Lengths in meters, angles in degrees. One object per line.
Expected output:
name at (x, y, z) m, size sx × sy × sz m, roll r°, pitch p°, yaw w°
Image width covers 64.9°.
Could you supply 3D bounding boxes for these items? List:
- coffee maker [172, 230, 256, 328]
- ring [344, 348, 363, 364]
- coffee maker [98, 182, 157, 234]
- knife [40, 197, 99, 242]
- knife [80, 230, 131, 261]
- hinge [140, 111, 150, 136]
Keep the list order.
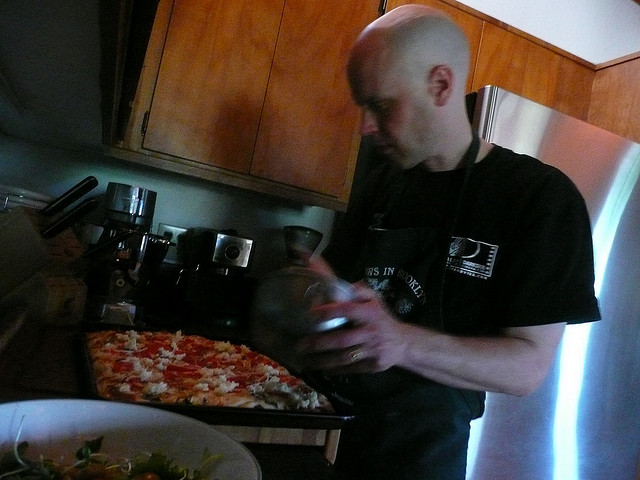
coffee maker at (-0.425, 0.140, 2.023) m, size 0.329 × 0.354 × 0.326 m, roll 13°, pitch -6°, yaw -26°
ring at (0.063, 0.212, 0.932) m, size 0.038 × 0.026 × 0.015 m, roll 9°, pitch 0°, yaw -38°
coffee maker at (-0.669, -0.103, 1.758) m, size 0.177 × 0.160 × 0.391 m, roll 6°, pitch 8°, yaw -21°
knife at (-0.741, -0.059, 1.482) m, size 0.044 × 0.192 × 0.037 m, roll 53°, pitch 1°, yaw -38°
knife at (-0.647, 0.019, 1.526) m, size 0.118 × 0.022 × 0.031 m, roll -33°, pitch 30°, yaw -2°
hinge at (-0.653, -0.435, 1.877) m, size 0.023 × 0.088 × 0.012 m, roll 6°, pitch 8°, yaw -24°
